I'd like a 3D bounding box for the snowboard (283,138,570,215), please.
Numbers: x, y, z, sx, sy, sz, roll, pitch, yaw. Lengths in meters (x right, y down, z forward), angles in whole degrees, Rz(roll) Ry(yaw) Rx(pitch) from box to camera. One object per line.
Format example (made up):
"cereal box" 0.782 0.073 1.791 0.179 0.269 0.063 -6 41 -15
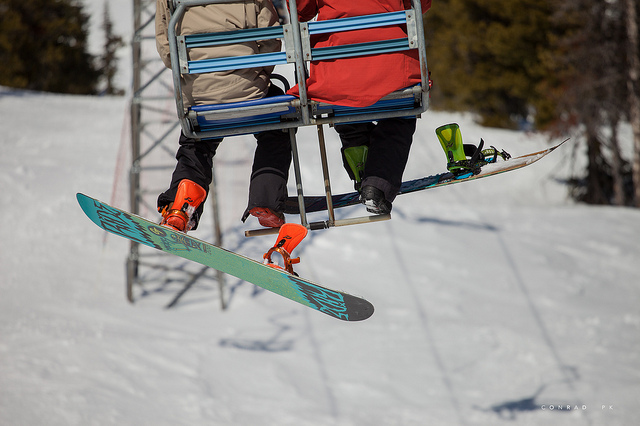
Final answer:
"snowboard" 1.949 -0.657 15.463 4.897 0.377 0.546 -16 34 -3

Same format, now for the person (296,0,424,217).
"person" 0.666 -1.560 10.877 1.163 3.676 0.516 -5 22 6

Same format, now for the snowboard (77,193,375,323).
"snowboard" -1.644 0.904 14.033 5.569 0.595 0.325 21 36 3
